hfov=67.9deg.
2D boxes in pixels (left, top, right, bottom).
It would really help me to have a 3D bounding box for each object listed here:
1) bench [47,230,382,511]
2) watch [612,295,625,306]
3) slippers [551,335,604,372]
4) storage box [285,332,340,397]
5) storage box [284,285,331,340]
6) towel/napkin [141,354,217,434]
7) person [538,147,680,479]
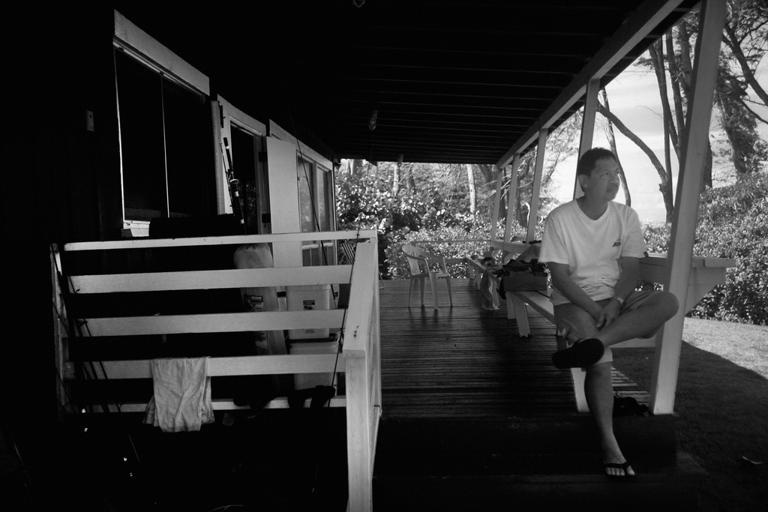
[{"bbox_3d":[-0.934,0.493,4.075,2.282,1.759,1.737,-1,14,2],"label":"bench"},{"bbox_3d":[1.589,0.294,3.885,0.074,0.075,0.046,37,41,18],"label":"watch"},{"bbox_3d":[1.238,0.619,3.655,0.286,0.166,0.131,-16,-2,22],"label":"slippers"},{"bbox_3d":[-0.473,0.750,4.276,0.454,0.468,0.341,0,18,0],"label":"storage box"},{"bbox_3d":[-0.558,0.425,4.359,0.386,0.547,0.371,0,-6,-1],"label":"storage box"},{"bbox_3d":[-1.411,0.933,3.908,0.519,0.524,0.204,-1,-6,0],"label":"towel/napkin"},{"bbox_3d":[1.456,0.295,3.873,0.873,2.161,0.670,-3,0,-29],"label":"person"}]
